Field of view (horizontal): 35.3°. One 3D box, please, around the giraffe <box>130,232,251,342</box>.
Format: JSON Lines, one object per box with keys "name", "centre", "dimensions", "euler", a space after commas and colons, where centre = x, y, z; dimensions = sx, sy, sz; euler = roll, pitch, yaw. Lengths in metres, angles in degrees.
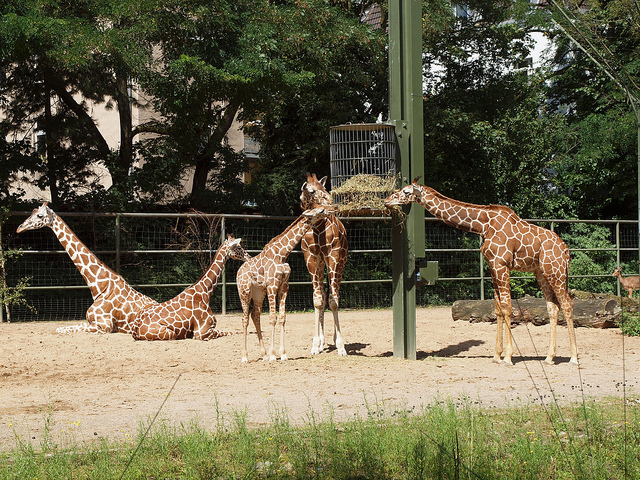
{"name": "giraffe", "centre": [-2.060, 0.908, 17.984], "dimensions": [2.520, 2.255, 1.311], "euler": [-9, 12, -26]}
